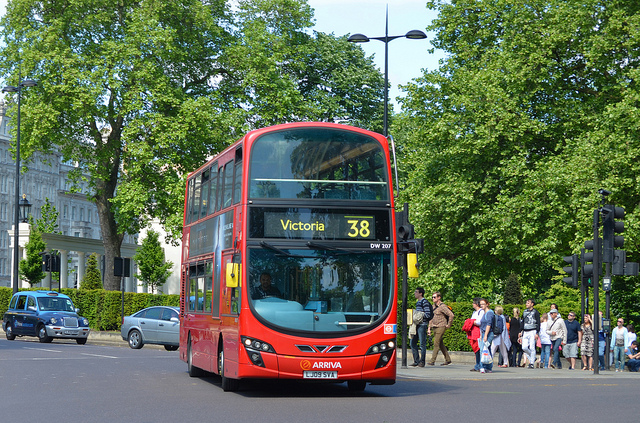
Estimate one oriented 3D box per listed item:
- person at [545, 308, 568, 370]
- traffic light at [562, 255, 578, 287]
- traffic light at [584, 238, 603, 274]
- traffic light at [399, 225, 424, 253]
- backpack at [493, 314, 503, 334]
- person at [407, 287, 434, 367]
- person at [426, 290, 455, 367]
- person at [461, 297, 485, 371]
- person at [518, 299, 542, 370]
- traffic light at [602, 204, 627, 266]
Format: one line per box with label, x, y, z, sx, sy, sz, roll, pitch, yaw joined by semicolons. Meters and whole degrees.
person;8.878;4.769;34.158;0.780;2.170;0.676;-4;-10;22
traffic light;8.779;2.123;31.880;0.498;1.133;0.924;-2;-10;15
traffic light;9.319;1.531;31.054;0.624;1.220;1.094;-2;-10;15
traffic light;2.758;0.843;28.277;0.486;0.826;1.223;-6;-11;30
backpack;6.544;4.190;33.603;0.593;0.669;0.205;8;-12;-40
person;3.497;4.104;32.144;0.883;2.500;1.046;-2;-3;38
person;4.129;4.176;32.022;1.409;2.482;0.977;5;-11;-25
person;5.289;4.229;31.229;0.854;2.294;0.700;1;-3;-40
person;7.992;4.619;34.627;0.718;2.452;0.829;-2;-3;24
traffic light;9.824;0.816;30.725;0.849;1.890;0.454;4;-9;-3
